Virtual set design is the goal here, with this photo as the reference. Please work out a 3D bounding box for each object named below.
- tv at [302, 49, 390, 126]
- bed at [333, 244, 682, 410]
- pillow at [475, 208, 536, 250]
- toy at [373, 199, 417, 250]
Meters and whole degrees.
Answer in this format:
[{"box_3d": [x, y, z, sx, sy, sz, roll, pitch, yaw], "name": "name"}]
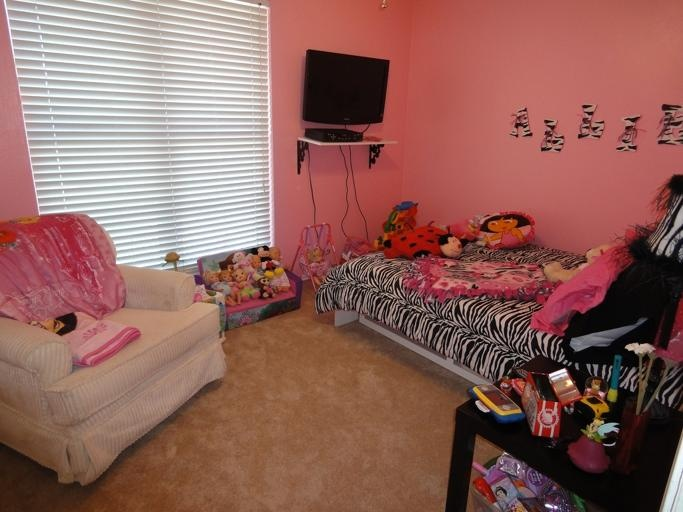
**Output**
[{"box_3d": [0.006, -1.389, 4.077, 0.694, 0.494, 0.092, -7, 30, -31], "name": "tv"}, {"box_3d": [0.661, 0.410, 3.196, 1.175, 0.295, 0.922, 24, 30, 38], "name": "bed"}, {"box_3d": [1.287, -0.203, 3.807, 0.342, 0.104, 0.310, -23, 33, -13], "name": "pillow"}, {"box_3d": [0.501, -0.295, 4.312, 0.466, 0.529, 0.313, 5, 2, 24], "name": "toy"}]
